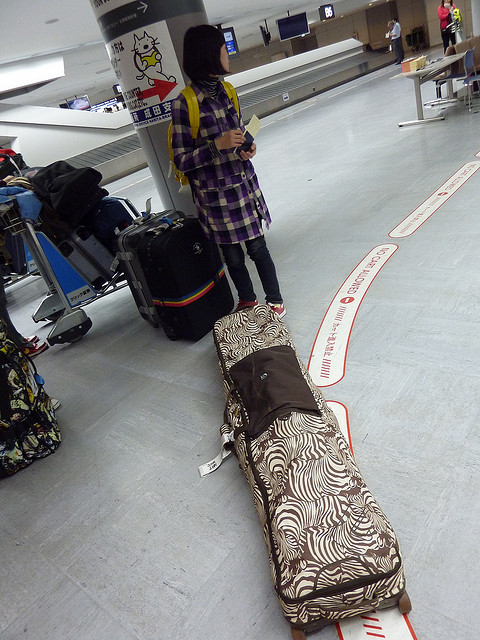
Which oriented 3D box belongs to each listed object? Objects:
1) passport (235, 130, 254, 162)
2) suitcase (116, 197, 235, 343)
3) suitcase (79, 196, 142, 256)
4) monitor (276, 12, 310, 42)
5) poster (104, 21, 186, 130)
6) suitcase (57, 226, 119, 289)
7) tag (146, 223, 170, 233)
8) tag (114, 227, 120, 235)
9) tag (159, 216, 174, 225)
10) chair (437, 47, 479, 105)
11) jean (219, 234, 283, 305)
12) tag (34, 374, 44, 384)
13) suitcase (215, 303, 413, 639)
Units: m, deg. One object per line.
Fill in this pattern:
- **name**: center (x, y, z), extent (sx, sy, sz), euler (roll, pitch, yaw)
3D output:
- **passport**: center (0.019, -0.826, 2.140), extent (0.090, 0.110, 0.045), euler (-2, 28, 36)
- **suitcase**: center (-0.364, -0.266, 2.587), extent (0.505, 0.859, 0.549), euler (15, 47, 28)
- **suitcase**: center (-0.876, -0.605, 2.980), extent (0.242, 0.450, 0.278), euler (15, 68, 51)
- **monitor**: center (2.171, -12.106, 18.673), extent (1.443, 0.747, 0.876), euler (-19, 22, -3)
- **poster**: center (-0.608, -1.540, 2.912), extent (0.512, 0.546, 0.169), euler (1, 31, 41)
- **suitcase**: center (-1.154, -0.474, 3.138), extent (0.239, 0.362, 0.209), euler (6, 64, 14)
- **tag**: center (-0.467, -0.511, 2.503), extent (0.088, 0.030, 0.054), euler (-16, 22, -2)
- **tag**: center (-0.868, -0.620, 3.167), extent (0.044, 0.041, 0.010), euler (-22, 14, -39)
- **tag**: center (-0.427, -0.576, 2.641), extent (0.040, 0.049, 0.119), euler (-51, 34, -6)
- **chair**: center (3.055, -3.363, 6.107), extent (0.562, 0.801, 0.477), euler (14, 68, 29)
- **jean**: center (0.065, -0.259, 2.553), extent (0.250, 0.423, 0.127), euler (-15, 23, 12)
- **tag**: center (-0.933, 0.270, 2.081), extent (0.028, 0.011, 0.050), euler (-3, 31, -47)
- **suitcase**: center (0.149, 0.360, 1.364), extent (0.296, 0.203, 0.879), euler (-15, 41, 0)
